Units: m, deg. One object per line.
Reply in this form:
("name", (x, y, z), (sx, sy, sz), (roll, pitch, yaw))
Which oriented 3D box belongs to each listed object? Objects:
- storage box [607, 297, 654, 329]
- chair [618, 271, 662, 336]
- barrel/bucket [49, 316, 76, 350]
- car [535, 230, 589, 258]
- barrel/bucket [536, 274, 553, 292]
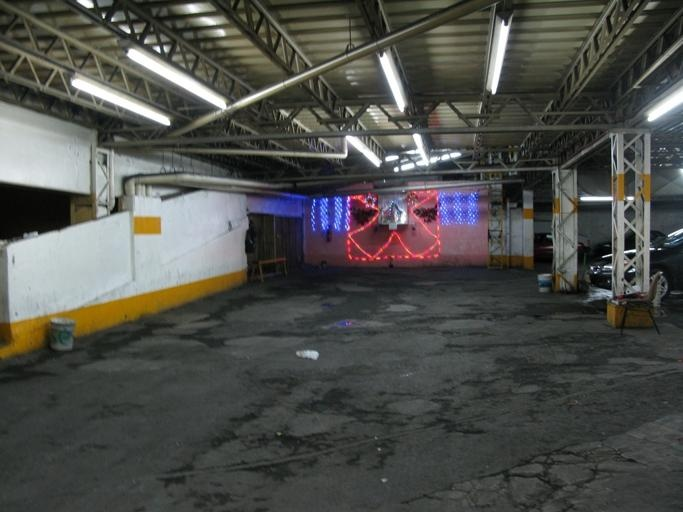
("storage box", (5.976, 1.229, 10.267), (0.603, 0.488, 0.633), (-1, 2, 8))
("chair", (6.052, 1.007, 9.987), (0.529, 0.838, 0.526), (-5, 25, 39))
("barrel/bucket", (-5.551, 1.494, 9.638), (0.543, 0.624, 0.560), (3, -2, 0))
("car", (11.234, -0.504, 24.267), (3.112, 1.150, 1.514), (2, 1, 5))
("barrel/bucket", (6.374, 0.848, 15.499), (0.498, 0.467, 0.501), (0, -4, 0))
